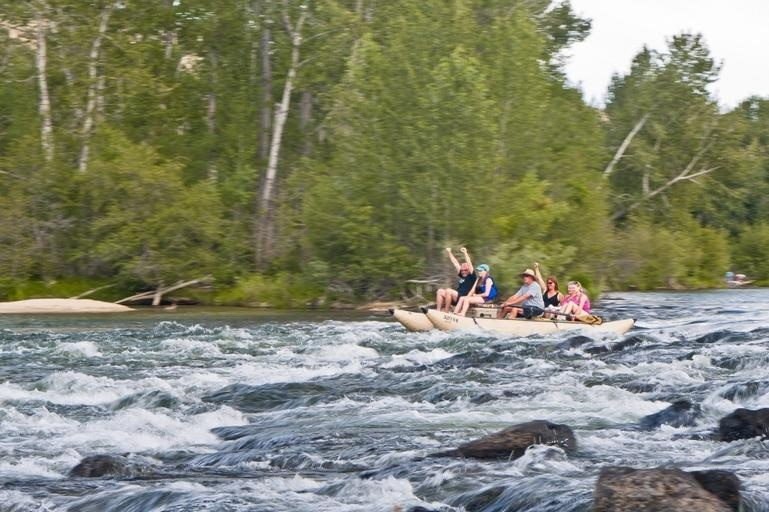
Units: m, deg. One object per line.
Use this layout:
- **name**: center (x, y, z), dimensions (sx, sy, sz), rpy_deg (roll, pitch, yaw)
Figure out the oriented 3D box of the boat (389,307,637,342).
- **boat**: center (4.574, 2.521, 45.051), dimensions (8.487, 0.563, 1.258), rpy_deg (2, -6, 5)
